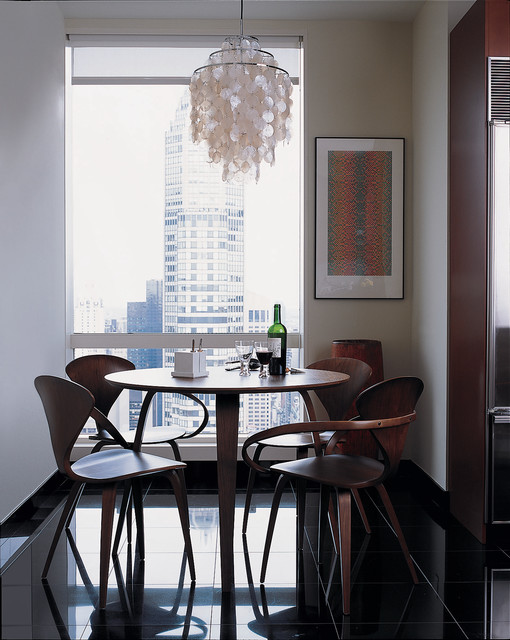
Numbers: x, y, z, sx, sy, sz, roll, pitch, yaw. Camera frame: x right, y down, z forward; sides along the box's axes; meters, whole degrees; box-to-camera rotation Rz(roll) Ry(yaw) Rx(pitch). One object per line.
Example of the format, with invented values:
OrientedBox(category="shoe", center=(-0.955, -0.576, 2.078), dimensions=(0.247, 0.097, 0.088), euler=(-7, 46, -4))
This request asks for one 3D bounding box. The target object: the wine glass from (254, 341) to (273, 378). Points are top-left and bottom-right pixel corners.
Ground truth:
OrientedBox(category="wine glass", center=(0.049, 0.190, 3.328), dimensions=(0.084, 0.204, 0.104), euler=(1, -2, -20))

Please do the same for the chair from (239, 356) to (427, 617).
OrientedBox(category="chair", center=(0.429, 0.567, 3.327), dimensions=(0.746, 1.368, 0.823), euler=(0, -1, 40))

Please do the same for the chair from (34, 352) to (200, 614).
OrientedBox(category="chair", center=(-0.610, 0.647, 3.083), dimensions=(0.614, 0.916, 0.655), euler=(-4, 6, -40))

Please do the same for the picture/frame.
OrientedBox(category="picture/frame", center=(0.658, -0.662, 4.604), dimensions=(0.563, 1.330, 0.019), euler=(0, -32, 8))
